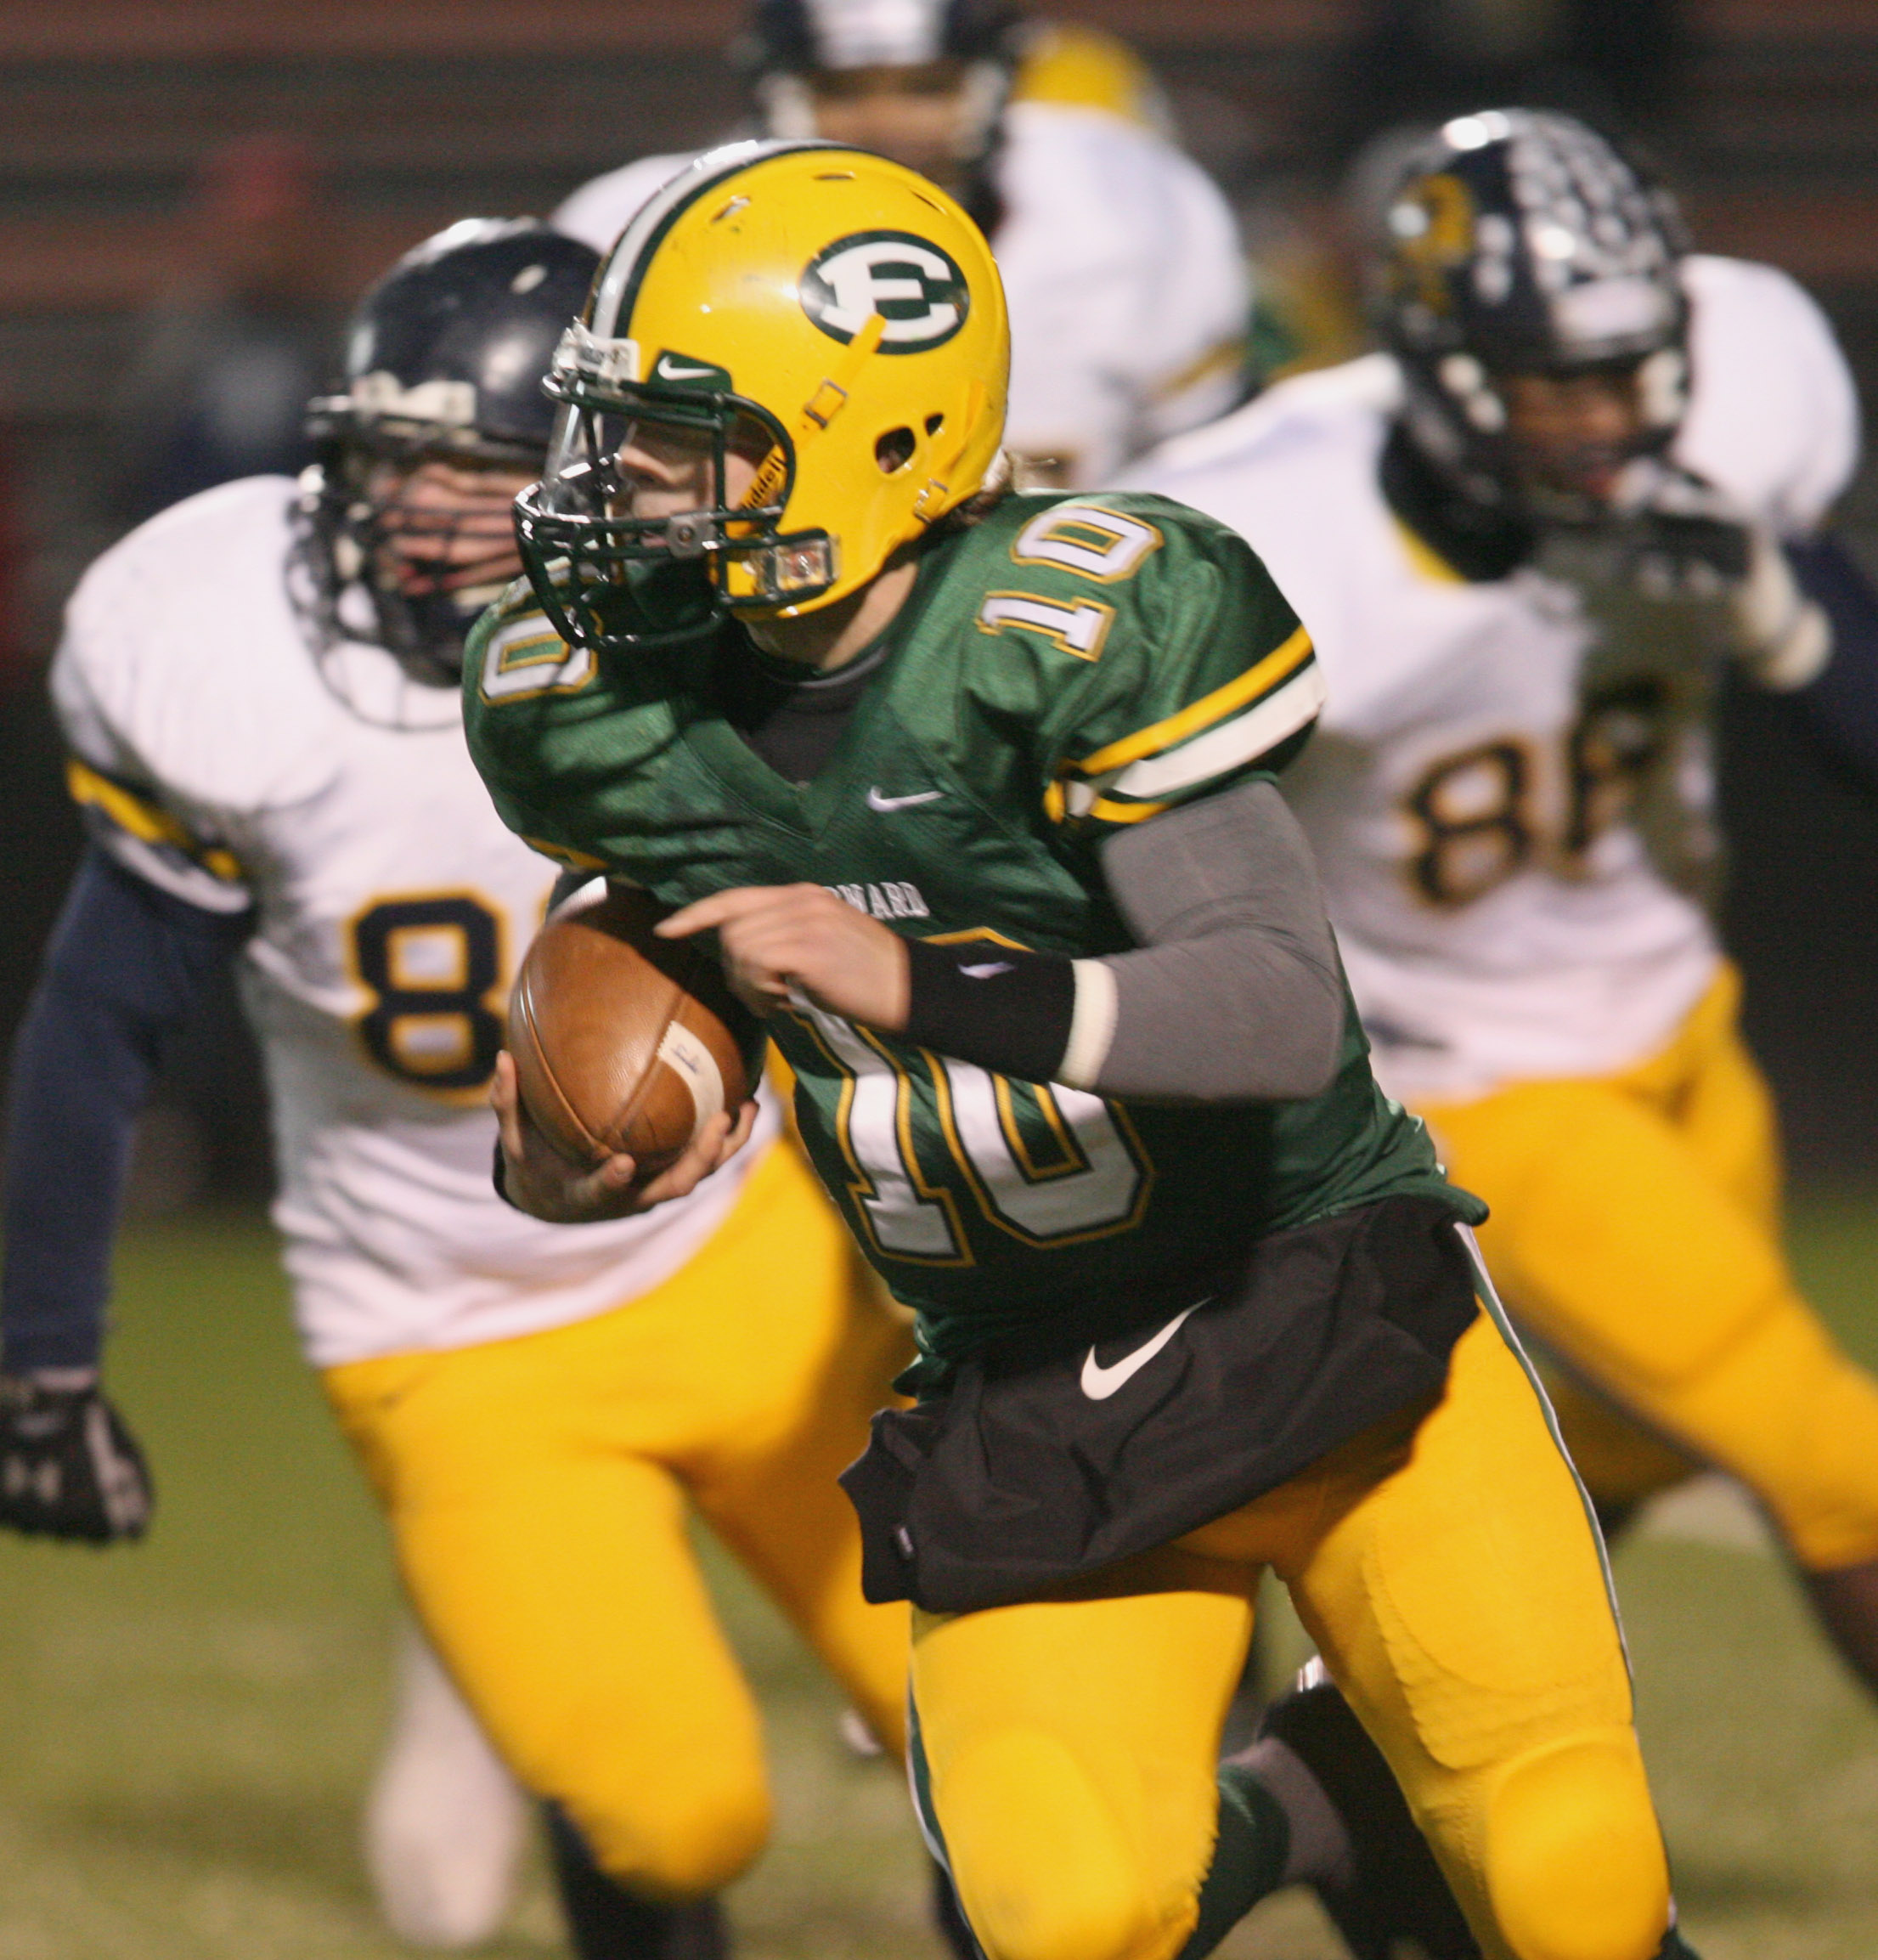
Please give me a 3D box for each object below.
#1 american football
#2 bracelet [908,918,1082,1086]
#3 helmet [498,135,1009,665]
[{"bbox_3d":[-0.193,0.038,1.666,0.150,0.108,0.188,-25,12,18],"label":"american football"},{"bbox_3d":[0.029,0.019,1.375,0.089,0.070,0.068,0,44,0],"label":"bracelet"},{"bbox_3d":[-0.104,-0.340,1.564,0.244,0.228,0.335,14,44,14],"label":"helmet"}]
